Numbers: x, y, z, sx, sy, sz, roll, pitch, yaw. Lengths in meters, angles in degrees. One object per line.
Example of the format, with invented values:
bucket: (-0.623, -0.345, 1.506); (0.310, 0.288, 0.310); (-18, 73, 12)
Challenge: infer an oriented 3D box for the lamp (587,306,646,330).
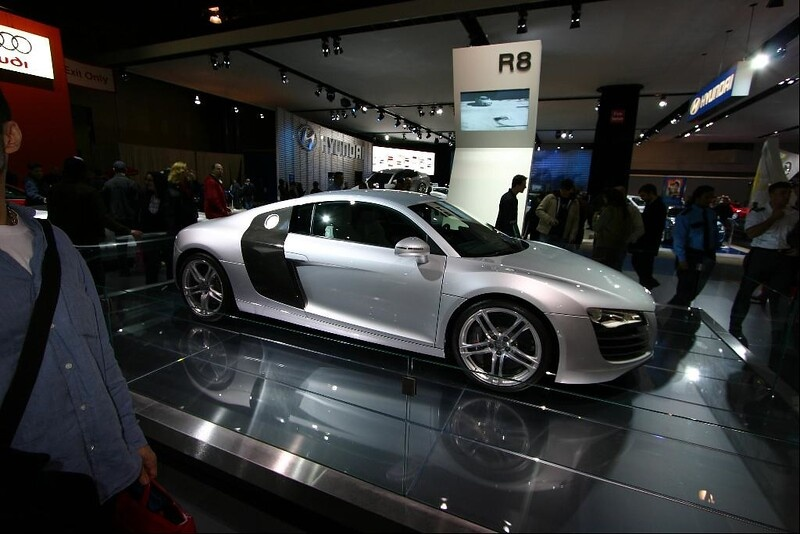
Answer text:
lamp: (1.586, 0.370, 3.267); (0.492, 0.146, 0.071); (-3, 16, -18)

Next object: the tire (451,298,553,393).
tire: (0.783, 0.596, 3.349); (0.613, 0.642, 0.230); (-6, -6, 17)

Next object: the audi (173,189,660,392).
audi: (0.052, 0.102, 3.998); (3.361, 1.034, 1.853); (7, 15, 22)

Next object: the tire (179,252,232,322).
tire: (-1.872, 0.193, 4.319); (0.512, 0.528, 0.202); (-22, -12, 23)
